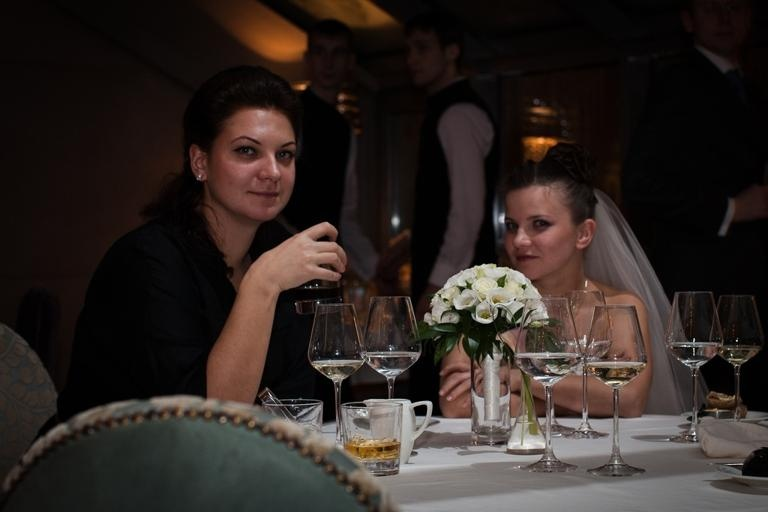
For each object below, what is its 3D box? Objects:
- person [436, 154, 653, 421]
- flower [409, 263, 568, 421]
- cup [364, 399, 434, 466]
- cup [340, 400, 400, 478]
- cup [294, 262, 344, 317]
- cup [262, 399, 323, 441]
[{"bbox_3d":[0.769,0.193,3.113,0.957,1.440,0.883,0,1,40],"label":"person"},{"bbox_3d":[0.281,0.213,1.870,0.301,0.299,0.297,-16,4,-21],"label":"flower"},{"bbox_3d":[0.032,0.451,1.647,0.173,0.163,0.128,0,0,4],"label":"cup"},{"bbox_3d":[-0.027,0.450,1.598,0.150,0.163,0.181,-2,-6,-9],"label":"cup"},{"bbox_3d":[-0.224,0.121,2.257,0.179,0.163,0.179,0,-7,0],"label":"cup"},{"bbox_3d":[-0.208,0.399,1.608,0.115,0.076,0.125,1,-2,0],"label":"cup"}]
